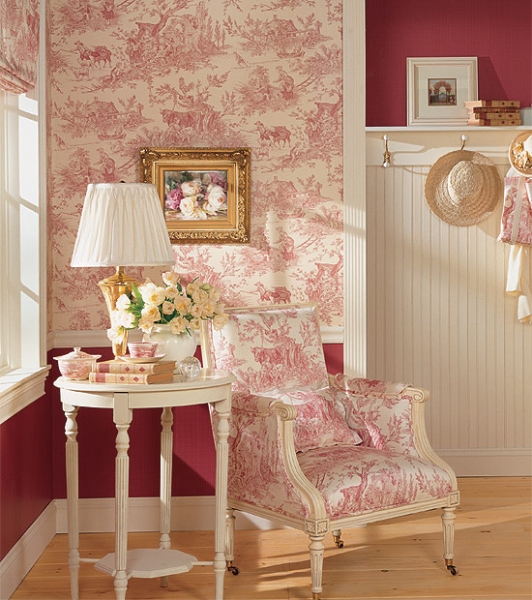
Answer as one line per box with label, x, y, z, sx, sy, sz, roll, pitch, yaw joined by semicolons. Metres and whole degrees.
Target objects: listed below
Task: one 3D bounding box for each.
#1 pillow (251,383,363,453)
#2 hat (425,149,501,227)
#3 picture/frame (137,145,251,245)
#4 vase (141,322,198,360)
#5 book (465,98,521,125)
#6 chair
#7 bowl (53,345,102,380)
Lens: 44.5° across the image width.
pillow;0.203;0.453;2.484;0.337;0.259;0.084;2;-38;-26
hat;1.097;-0.580;3.452;0.496;0.396;0.108;-9;10;4
picture/frame;-0.309;-0.484;2.879;0.720;0.503;0.054;0;2;-1
vase;-0.327;0.139;2.271;0.161;0.086;0.140;0;2;-12
book;1.259;-1.026;3.487;0.266;0.098;0.164;0;6;2
chair;0.264;0.527;2.514;0.764;1.014;0.701;-2;2;-32
bowl;-0.652;0.201;2.238;0.156;0.079;0.127;-1;6;-10
